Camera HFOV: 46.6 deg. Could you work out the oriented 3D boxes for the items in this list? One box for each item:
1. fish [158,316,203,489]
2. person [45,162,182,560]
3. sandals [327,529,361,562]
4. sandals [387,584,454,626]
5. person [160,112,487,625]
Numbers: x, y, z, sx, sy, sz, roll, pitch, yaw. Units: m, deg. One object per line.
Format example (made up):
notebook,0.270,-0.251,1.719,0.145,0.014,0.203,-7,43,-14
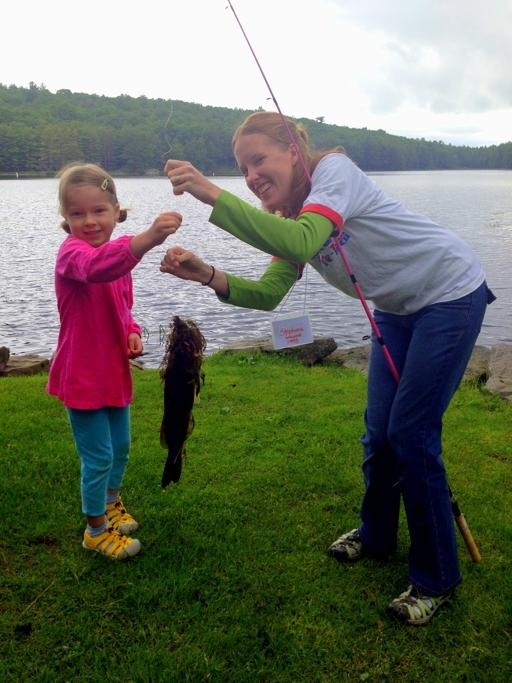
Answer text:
fish,-0.413,0.303,3.111,0.324,0.801,0.329,-3,14,-14
person,-0.805,0.066,2.904,0.801,2.004,0.629,1,1,9
sandals,0.485,1.091,3.140,0.093,0.092,0.234,-2,-5,41
sandals,0.768,1.195,2.711,0.273,0.103,0.112,5,-5,-37
person,0.470,0.103,2.723,1.297,2.213,0.788,2,14,-2
